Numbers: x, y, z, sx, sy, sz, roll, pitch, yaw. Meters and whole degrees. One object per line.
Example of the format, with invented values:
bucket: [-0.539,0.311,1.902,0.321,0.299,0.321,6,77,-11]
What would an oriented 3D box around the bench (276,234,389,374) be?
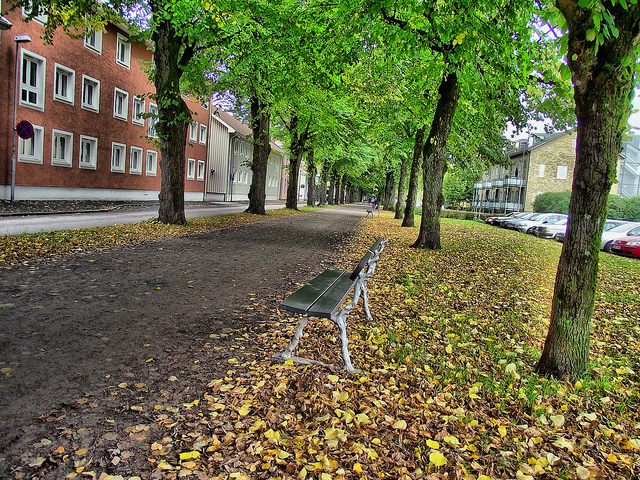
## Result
bench: [0.241,0.717,5.606,0.976,1.374,2.306,5,8,14]

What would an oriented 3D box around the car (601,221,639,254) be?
car: [14.006,-0.070,18.314,2.329,1.391,1.373,3,-2,-20]

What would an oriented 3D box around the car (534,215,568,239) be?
car: [14.279,-0.787,24.327,1.434,1.222,3.356,1,8,-2]
